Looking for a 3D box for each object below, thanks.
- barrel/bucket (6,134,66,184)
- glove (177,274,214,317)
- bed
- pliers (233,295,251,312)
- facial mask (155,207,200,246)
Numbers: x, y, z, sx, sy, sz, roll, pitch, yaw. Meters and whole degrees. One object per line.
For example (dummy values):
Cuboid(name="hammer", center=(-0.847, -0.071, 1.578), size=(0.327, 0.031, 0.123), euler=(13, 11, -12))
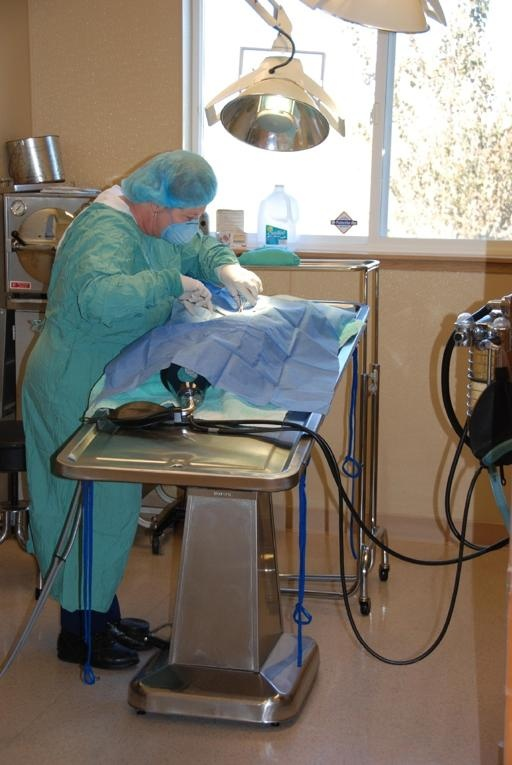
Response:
Cuboid(name="barrel/bucket", center=(-0.815, -0.818, 2.412), size=(0.173, 0.151, 0.194), euler=(-20, 9, -22))
Cuboid(name="glove", center=(-0.124, -0.171, 1.272), size=(0.056, 0.067, 0.159), euler=(2, 7, 11))
Cuboid(name="bed", center=(-0.067, 0.370, 1.401), size=(0.398, 0.551, 0.794), euler=(0, 4, 12))
Cuboid(name="pliers", center=(-0.030, -0.179, 1.494), size=(0.011, 0.036, 0.036), euler=(22, 34, 28))
Cuboid(name="facial mask", center=(-0.164, -0.336, 1.411), size=(0.041, 0.068, 0.061), euler=(-12, 3, 31))
